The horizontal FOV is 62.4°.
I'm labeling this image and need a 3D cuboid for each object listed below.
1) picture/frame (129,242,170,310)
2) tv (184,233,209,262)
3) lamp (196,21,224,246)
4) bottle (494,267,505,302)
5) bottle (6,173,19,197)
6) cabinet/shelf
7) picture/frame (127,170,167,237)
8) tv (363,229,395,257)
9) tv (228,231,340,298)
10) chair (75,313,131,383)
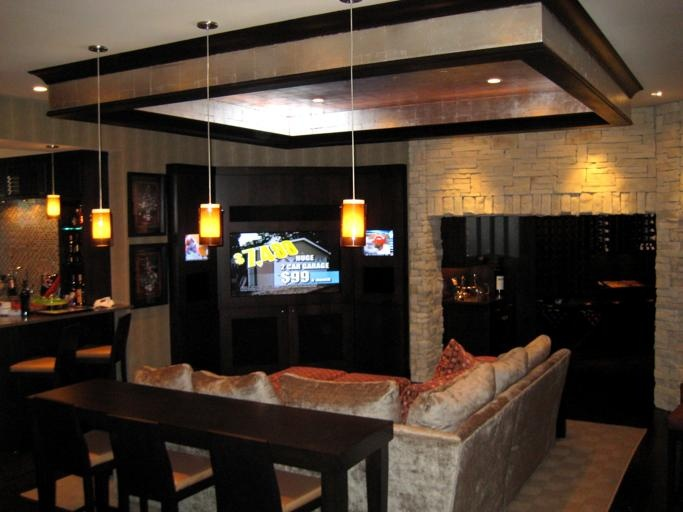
[{"bbox_3d":[-2.434,0.230,7.085,0.153,0.748,0.483,16,14,39],"label":"picture/frame"},{"bbox_3d":[-1.763,-0.110,6.738,0.047,0.294,0.343,-5,2,36],"label":"tv"},{"bbox_3d":[-1.045,-0.900,4.400,0.213,1.710,0.215,-4,28,-21],"label":"lamp"},{"bbox_3d":[2.436,0.423,8.635,0.175,0.475,0.181,7,11,-1],"label":"bottle"},{"bbox_3d":[-4.836,-1.038,8.247,0.081,0.326,0.447,-4,16,-45],"label":"bottle"},{"bbox_3d":[-0.775,0.105,7.384,2.863,2.728,0.911,-1,3,-9],"label":"cabinet/shelf"},{"bbox_3d":[-2.441,-0.655,7.055,0.506,0.745,0.262,-2,14,-37],"label":"picture/frame"},{"bbox_3d":[0.522,-0.198,7.575,0.376,0.357,0.124,1,1,15],"label":"tv"},{"bbox_3d":[-0.792,0.064,7.744,1.491,0.907,0.004,-2,-12,3],"label":"tv"},{"bbox_3d":[-2.655,1.048,6.099,0.509,0.863,0.507,7,-10,-26],"label":"chair"}]
